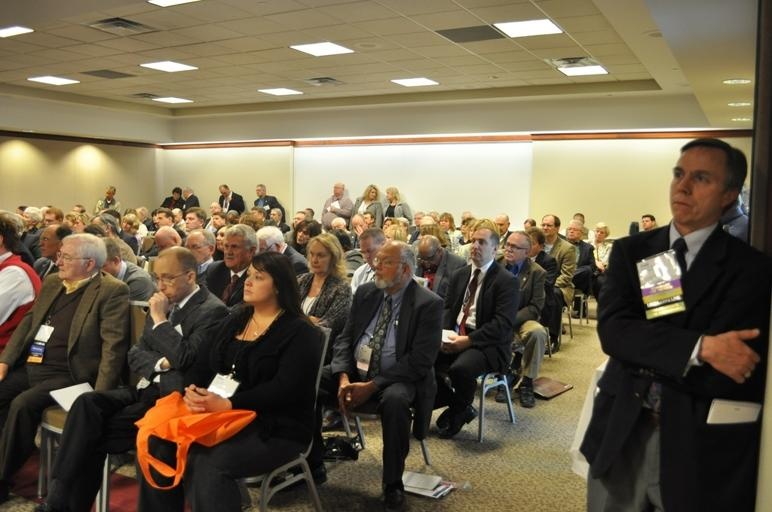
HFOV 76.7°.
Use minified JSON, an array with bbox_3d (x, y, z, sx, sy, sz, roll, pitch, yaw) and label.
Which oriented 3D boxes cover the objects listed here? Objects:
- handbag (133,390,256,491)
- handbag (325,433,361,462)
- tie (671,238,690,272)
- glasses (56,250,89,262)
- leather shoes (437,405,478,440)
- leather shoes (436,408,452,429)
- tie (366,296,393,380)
[{"bbox_3d":[-0.974,0.892,2.482,0.562,0.164,0.506,-10,18,-31],"label":"handbag"},{"bbox_3d":[-0.327,1.395,3.566,0.230,0.080,0.173,2,18,0],"label":"handbag"},{"bbox_3d":[1.090,-0.013,1.817,0.035,0.159,0.046,37,-35,-30],"label":"tie"},{"bbox_3d":[-2.141,0.013,3.362,0.137,0.063,0.097,8,-18,-32],"label":"glasses"},{"bbox_3d":[0.554,1.364,4.063,0.168,0.366,0.204,41,17,-26],"label":"leather shoes"},{"bbox_3d":[0.479,1.390,4.136,0.069,0.176,0.132,39,-7,2],"label":"leather shoes"},{"bbox_3d":[-0.044,0.578,3.495,0.137,0.561,0.241,7,9,7],"label":"tie"}]
